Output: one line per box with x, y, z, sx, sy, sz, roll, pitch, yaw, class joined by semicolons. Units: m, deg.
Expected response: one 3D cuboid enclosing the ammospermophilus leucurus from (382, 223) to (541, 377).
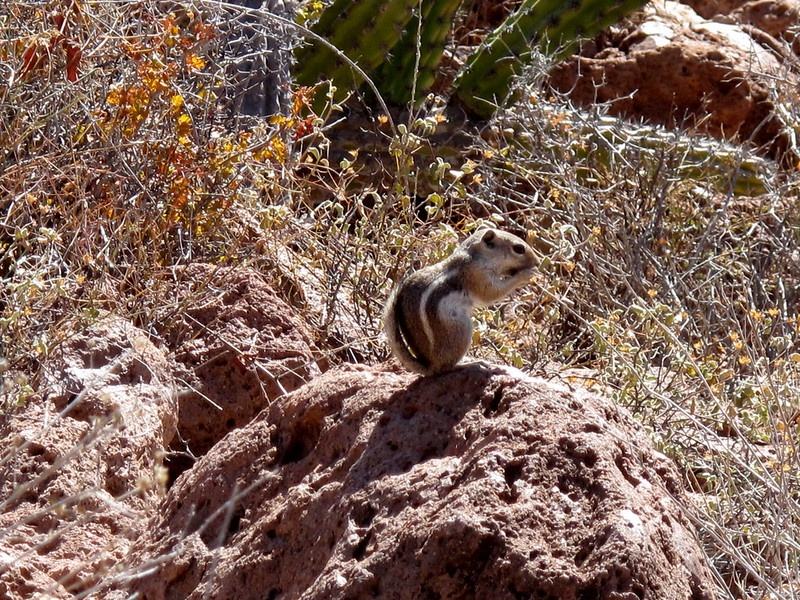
0.260;-0.023;5.250;0.501;0.715;0.674;24;19;30;ammospermophilus leucurus
